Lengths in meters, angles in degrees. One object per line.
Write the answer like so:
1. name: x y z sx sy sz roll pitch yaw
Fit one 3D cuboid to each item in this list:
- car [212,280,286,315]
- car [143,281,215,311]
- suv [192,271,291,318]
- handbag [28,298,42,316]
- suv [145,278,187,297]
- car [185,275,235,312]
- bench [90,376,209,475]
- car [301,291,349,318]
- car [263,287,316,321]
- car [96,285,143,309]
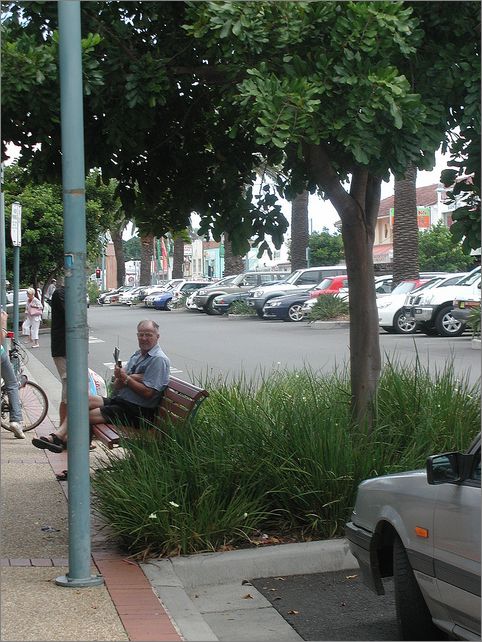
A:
1. car: 0.228 -1.262 33.160 3.562 1.529 1.615 0 -2 -1
2. car: -5.070 -1.980 45.184 5.028 1.672 2.289 -1 0 -19
3. suv: 0.119 -1.746 35.512 5.494 2.249 2.481 0 -1 -9
4. handbag: -7.639 -0.492 21.913 0.608 0.551 0.352 -6 -11 36
5. suv: -6.507 -2.897 50.864 3.209 1.135 1.545 0 -1 -4
6. car: -1.558 -1.838 37.576 3.778 1.646 1.723 0 -1 -10
7. bench: -0.846 0.812 5.062 0.796 0.605 1.365 3 2 -18
8. car: 3.649 -0.594 25.129 1.826 1.045 1.938 -1 2 5
9. car: 2.229 -0.674 27.221 2.395 0.847 1.139 1 -1 -4
10. car: -13.809 -2.672 65.407 5.291 1.725 2.357 -1 3 17
